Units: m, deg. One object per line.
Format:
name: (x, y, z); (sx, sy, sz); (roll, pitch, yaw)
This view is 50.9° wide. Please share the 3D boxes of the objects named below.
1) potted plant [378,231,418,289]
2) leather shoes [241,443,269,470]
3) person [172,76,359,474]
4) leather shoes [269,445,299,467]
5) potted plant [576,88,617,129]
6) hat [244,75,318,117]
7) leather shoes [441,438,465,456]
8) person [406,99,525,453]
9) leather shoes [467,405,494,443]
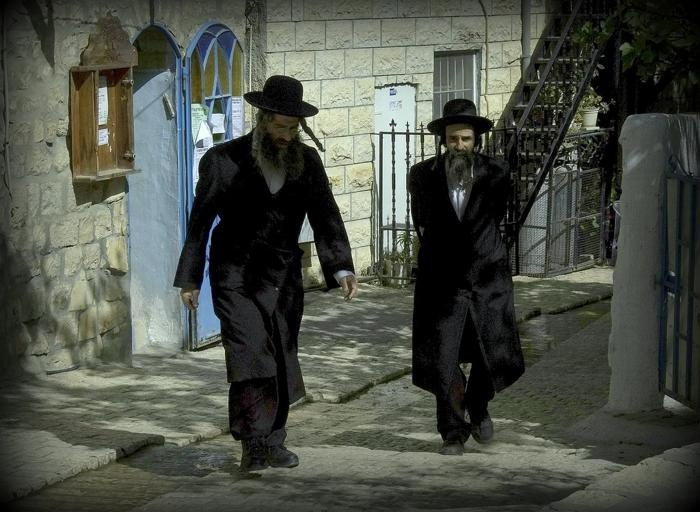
potted plant: (0.851, 0.047, 11.131); (0.461, 0.726, 0.479); (7, 8, 16)
leather shoes: (-0.571, 1.202, 4.453); (0.155, 0.160, 0.115); (-1, 6, -9)
person: (-0.513, 0.085, 4.507); (1.079, 2.367, 0.394); (-2, 6, -14)
leather shoes: (-0.399, 1.218, 4.504); (0.192, 0.081, 0.089); (-2, 2, 34)
potted plant: (4.299, -2.569, 13.103); (0.833, 0.828, 0.732); (2, 8, 26)
hat: (-0.423, -0.981, 4.503); (0.411, 0.289, 0.389); (-2, 6, -13)
leather shoes: (0.680, 1.254, 4.862); (0.154, 0.087, 0.227); (0, 6, 9)
person: (0.774, 0.103, 5.069); (0.675, 2.353, 0.559); (-4, 6, -30)
leather shoes: (0.909, 1.149, 5.094); (0.125, 0.286, 0.126); (-10, -1, -9)
